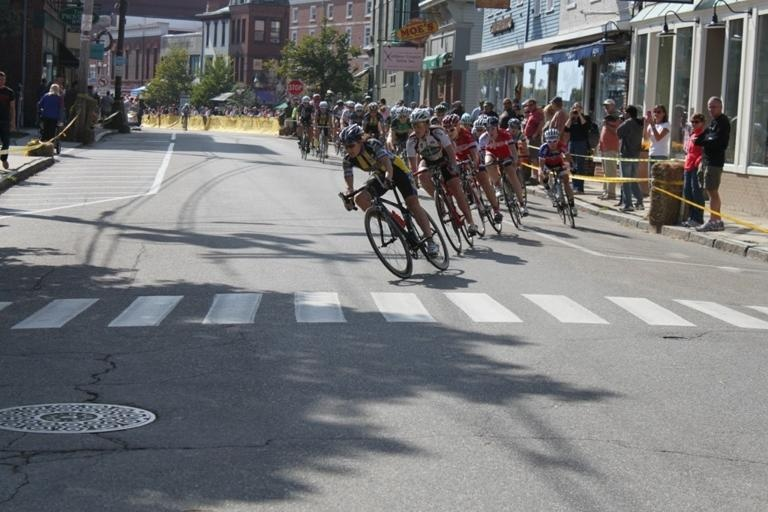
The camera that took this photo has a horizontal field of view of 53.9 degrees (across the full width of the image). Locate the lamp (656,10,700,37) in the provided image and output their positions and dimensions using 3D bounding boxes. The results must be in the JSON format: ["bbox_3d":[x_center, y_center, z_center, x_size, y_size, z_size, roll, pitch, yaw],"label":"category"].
[{"bbox_3d":[9.711,-7.754,25.221,1.209,0.820,0.691,-1,6,-3],"label":"lamp"}]

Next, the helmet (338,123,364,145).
[{"bbox_3d":[-0.458,-1.891,11.442,0.273,0.197,0.387,-1,24,24],"label":"helmet"}]

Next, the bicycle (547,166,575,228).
[{"bbox_3d":[4.197,-1.414,17.802,0.679,1.404,1.031,4,9,13],"label":"bicycle"}]

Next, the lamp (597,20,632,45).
[{"bbox_3d":[8.879,-8.734,29.120,0.594,0.856,1.465,0,9,-12],"label":"lamp"}]

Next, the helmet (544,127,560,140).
[{"bbox_3d":[3.812,-2.760,17.108,0.277,0.241,0.274,5,9,18],"label":"helmet"}]

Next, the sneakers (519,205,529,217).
[{"bbox_3d":[3.275,-1.052,17.603,0.151,0.190,0.666,-9,4,5],"label":"sneakers"}]
